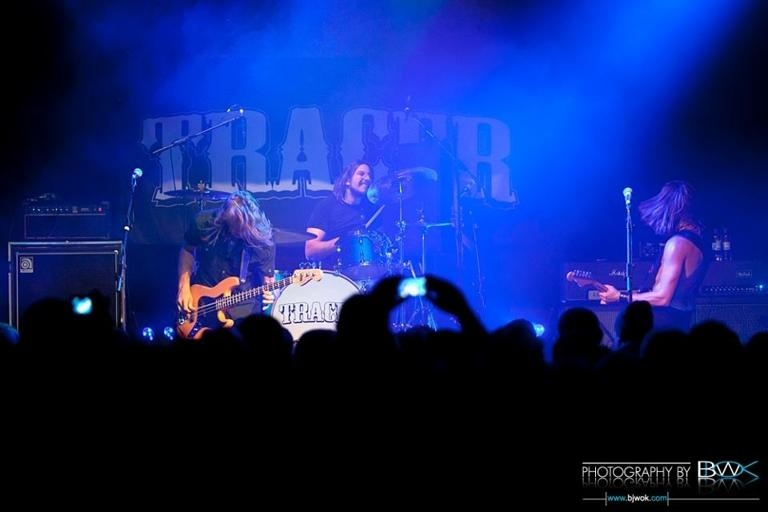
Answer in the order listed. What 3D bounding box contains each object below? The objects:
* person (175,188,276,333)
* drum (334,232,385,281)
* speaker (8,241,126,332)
[{"bbox_3d":[-1.794,-0.091,8.830,0.825,1.908,0.257,4,-8,27],"label":"person"},{"bbox_3d":[-0.229,0.002,8.466,0.512,0.450,0.495,1,-3,-43],"label":"drum"},{"bbox_3d":[-3.095,0.247,7.321,0.933,0.929,0.372,1,-4,-4],"label":"speaker"}]
